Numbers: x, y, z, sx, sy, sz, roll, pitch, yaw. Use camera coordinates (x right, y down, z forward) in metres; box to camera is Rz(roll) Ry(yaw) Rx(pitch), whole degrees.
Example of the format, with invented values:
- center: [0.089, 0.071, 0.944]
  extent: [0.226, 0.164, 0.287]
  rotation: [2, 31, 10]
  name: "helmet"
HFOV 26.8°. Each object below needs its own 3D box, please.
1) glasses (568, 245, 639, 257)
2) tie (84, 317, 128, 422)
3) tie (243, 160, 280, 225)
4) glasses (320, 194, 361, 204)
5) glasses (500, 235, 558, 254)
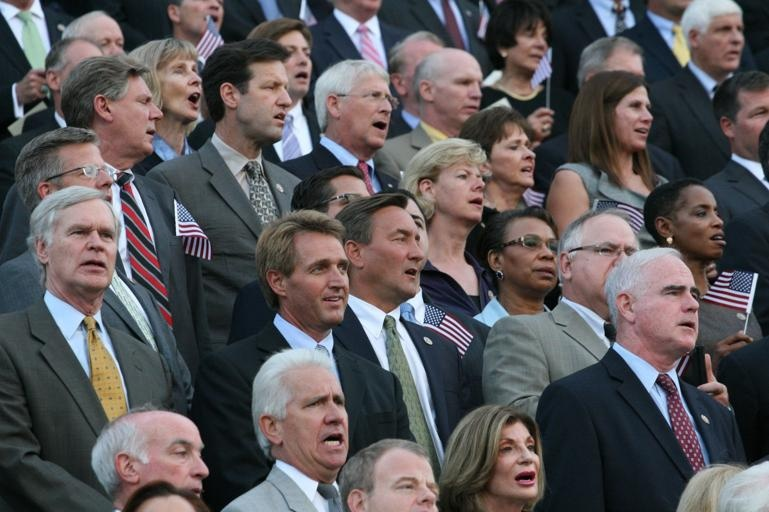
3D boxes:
- center: [1.791, -0.046, 13.250]
  extent: [0.545, 0.102, 0.121]
  rotation: [-9, -1, 17]
  name: "glasses"
- center: [-2.073, 0.823, 12.011]
  extent: [0.186, 0.754, 0.220]
  rotation: [-11, -1, 44]
  name: "tie"
- center: [-1.071, -0.560, 14.099]
  extent: [0.273, 0.576, 0.241]
  rotation: [-9, -1, -32]
  name: "tie"
- center: [-0.332, -0.483, 13.533]
  extent: [0.140, 0.041, 0.143]
  rotation: [-23, -12, 34]
  name: "glasses"
- center: [1.267, -0.097, 14.013]
  extent: [0.239, 0.069, 0.238]
  rotation: [6, -22, -33]
  name: "glasses"
